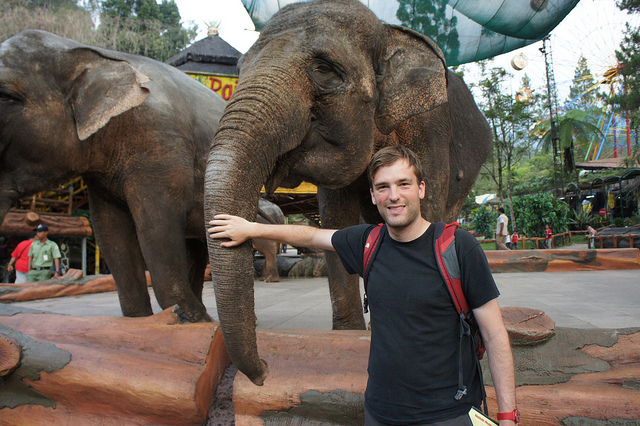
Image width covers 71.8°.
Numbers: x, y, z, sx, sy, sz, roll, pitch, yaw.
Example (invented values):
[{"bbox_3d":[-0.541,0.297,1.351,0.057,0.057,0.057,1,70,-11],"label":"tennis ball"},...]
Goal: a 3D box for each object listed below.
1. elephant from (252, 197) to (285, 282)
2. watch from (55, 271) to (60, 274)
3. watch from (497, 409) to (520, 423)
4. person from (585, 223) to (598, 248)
[{"bbox_3d":[-1.289,0.882,11.374,0.969,3.039,0.922,1,0,-7],"label":"elephant"},{"bbox_3d":[-5.219,1.190,8.834,0.088,0.028,0.086,19,-3,-13],"label":"watch"},{"bbox_3d":[1.081,1.147,2.529,0.113,0.065,0.110,0,-14,2],"label":"watch"},{"bbox_3d":[11.304,0.944,18.548,0.288,0.836,0.834,-16,2,5],"label":"person"}]
